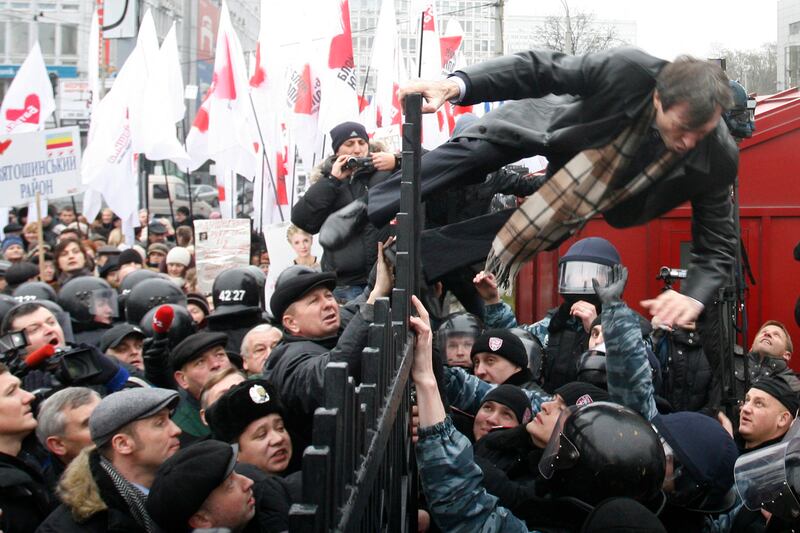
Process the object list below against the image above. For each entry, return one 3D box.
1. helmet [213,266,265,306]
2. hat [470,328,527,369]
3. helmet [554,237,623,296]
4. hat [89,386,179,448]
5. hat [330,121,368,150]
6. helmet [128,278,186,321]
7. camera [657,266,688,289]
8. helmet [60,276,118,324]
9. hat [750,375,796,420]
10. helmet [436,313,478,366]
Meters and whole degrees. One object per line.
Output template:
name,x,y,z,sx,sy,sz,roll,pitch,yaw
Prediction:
helmet,-1.524,0.187,9.253,0.327,0.279,0.544,-2,-3,5
hat,0.817,0.664,7.751,0.352,0.215,0.322,40,-28,-26
helmet,1.618,0.007,8.089,0.406,0.429,0.518,-2,-7,42
hat,-1.793,0.978,6.449,0.510,0.238,0.327,-20,5,-15
hat,-0.494,-1.290,9.278,0.297,0.234,0.270,-15,10,-3
helmet,-2.376,0.298,9.301,0.466,0.384,0.404,-10,9,-22
camera,2.225,0.087,7.769,0.191,0.218,0.225,4,-10,5
helmet,-3.018,0.337,9.311,0.503,0.397,0.417,-4,5,-17
hat,2.945,0.975,7.418,0.293,0.157,0.331,21,4,-30
helmet,0.500,0.611,8.137,0.321,0.403,0.425,1,-8,3
